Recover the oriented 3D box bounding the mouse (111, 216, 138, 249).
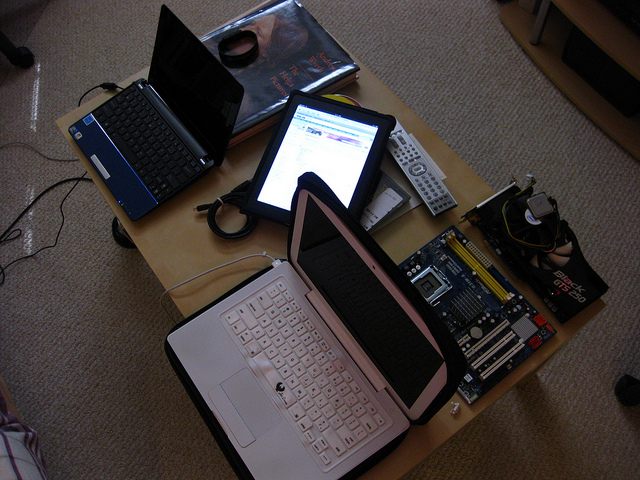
[{"bbox_3d":[-0.753,-0.023,2.245,0.084,0.035,0.120,-43,95,-27],"label":"mouse"}]
